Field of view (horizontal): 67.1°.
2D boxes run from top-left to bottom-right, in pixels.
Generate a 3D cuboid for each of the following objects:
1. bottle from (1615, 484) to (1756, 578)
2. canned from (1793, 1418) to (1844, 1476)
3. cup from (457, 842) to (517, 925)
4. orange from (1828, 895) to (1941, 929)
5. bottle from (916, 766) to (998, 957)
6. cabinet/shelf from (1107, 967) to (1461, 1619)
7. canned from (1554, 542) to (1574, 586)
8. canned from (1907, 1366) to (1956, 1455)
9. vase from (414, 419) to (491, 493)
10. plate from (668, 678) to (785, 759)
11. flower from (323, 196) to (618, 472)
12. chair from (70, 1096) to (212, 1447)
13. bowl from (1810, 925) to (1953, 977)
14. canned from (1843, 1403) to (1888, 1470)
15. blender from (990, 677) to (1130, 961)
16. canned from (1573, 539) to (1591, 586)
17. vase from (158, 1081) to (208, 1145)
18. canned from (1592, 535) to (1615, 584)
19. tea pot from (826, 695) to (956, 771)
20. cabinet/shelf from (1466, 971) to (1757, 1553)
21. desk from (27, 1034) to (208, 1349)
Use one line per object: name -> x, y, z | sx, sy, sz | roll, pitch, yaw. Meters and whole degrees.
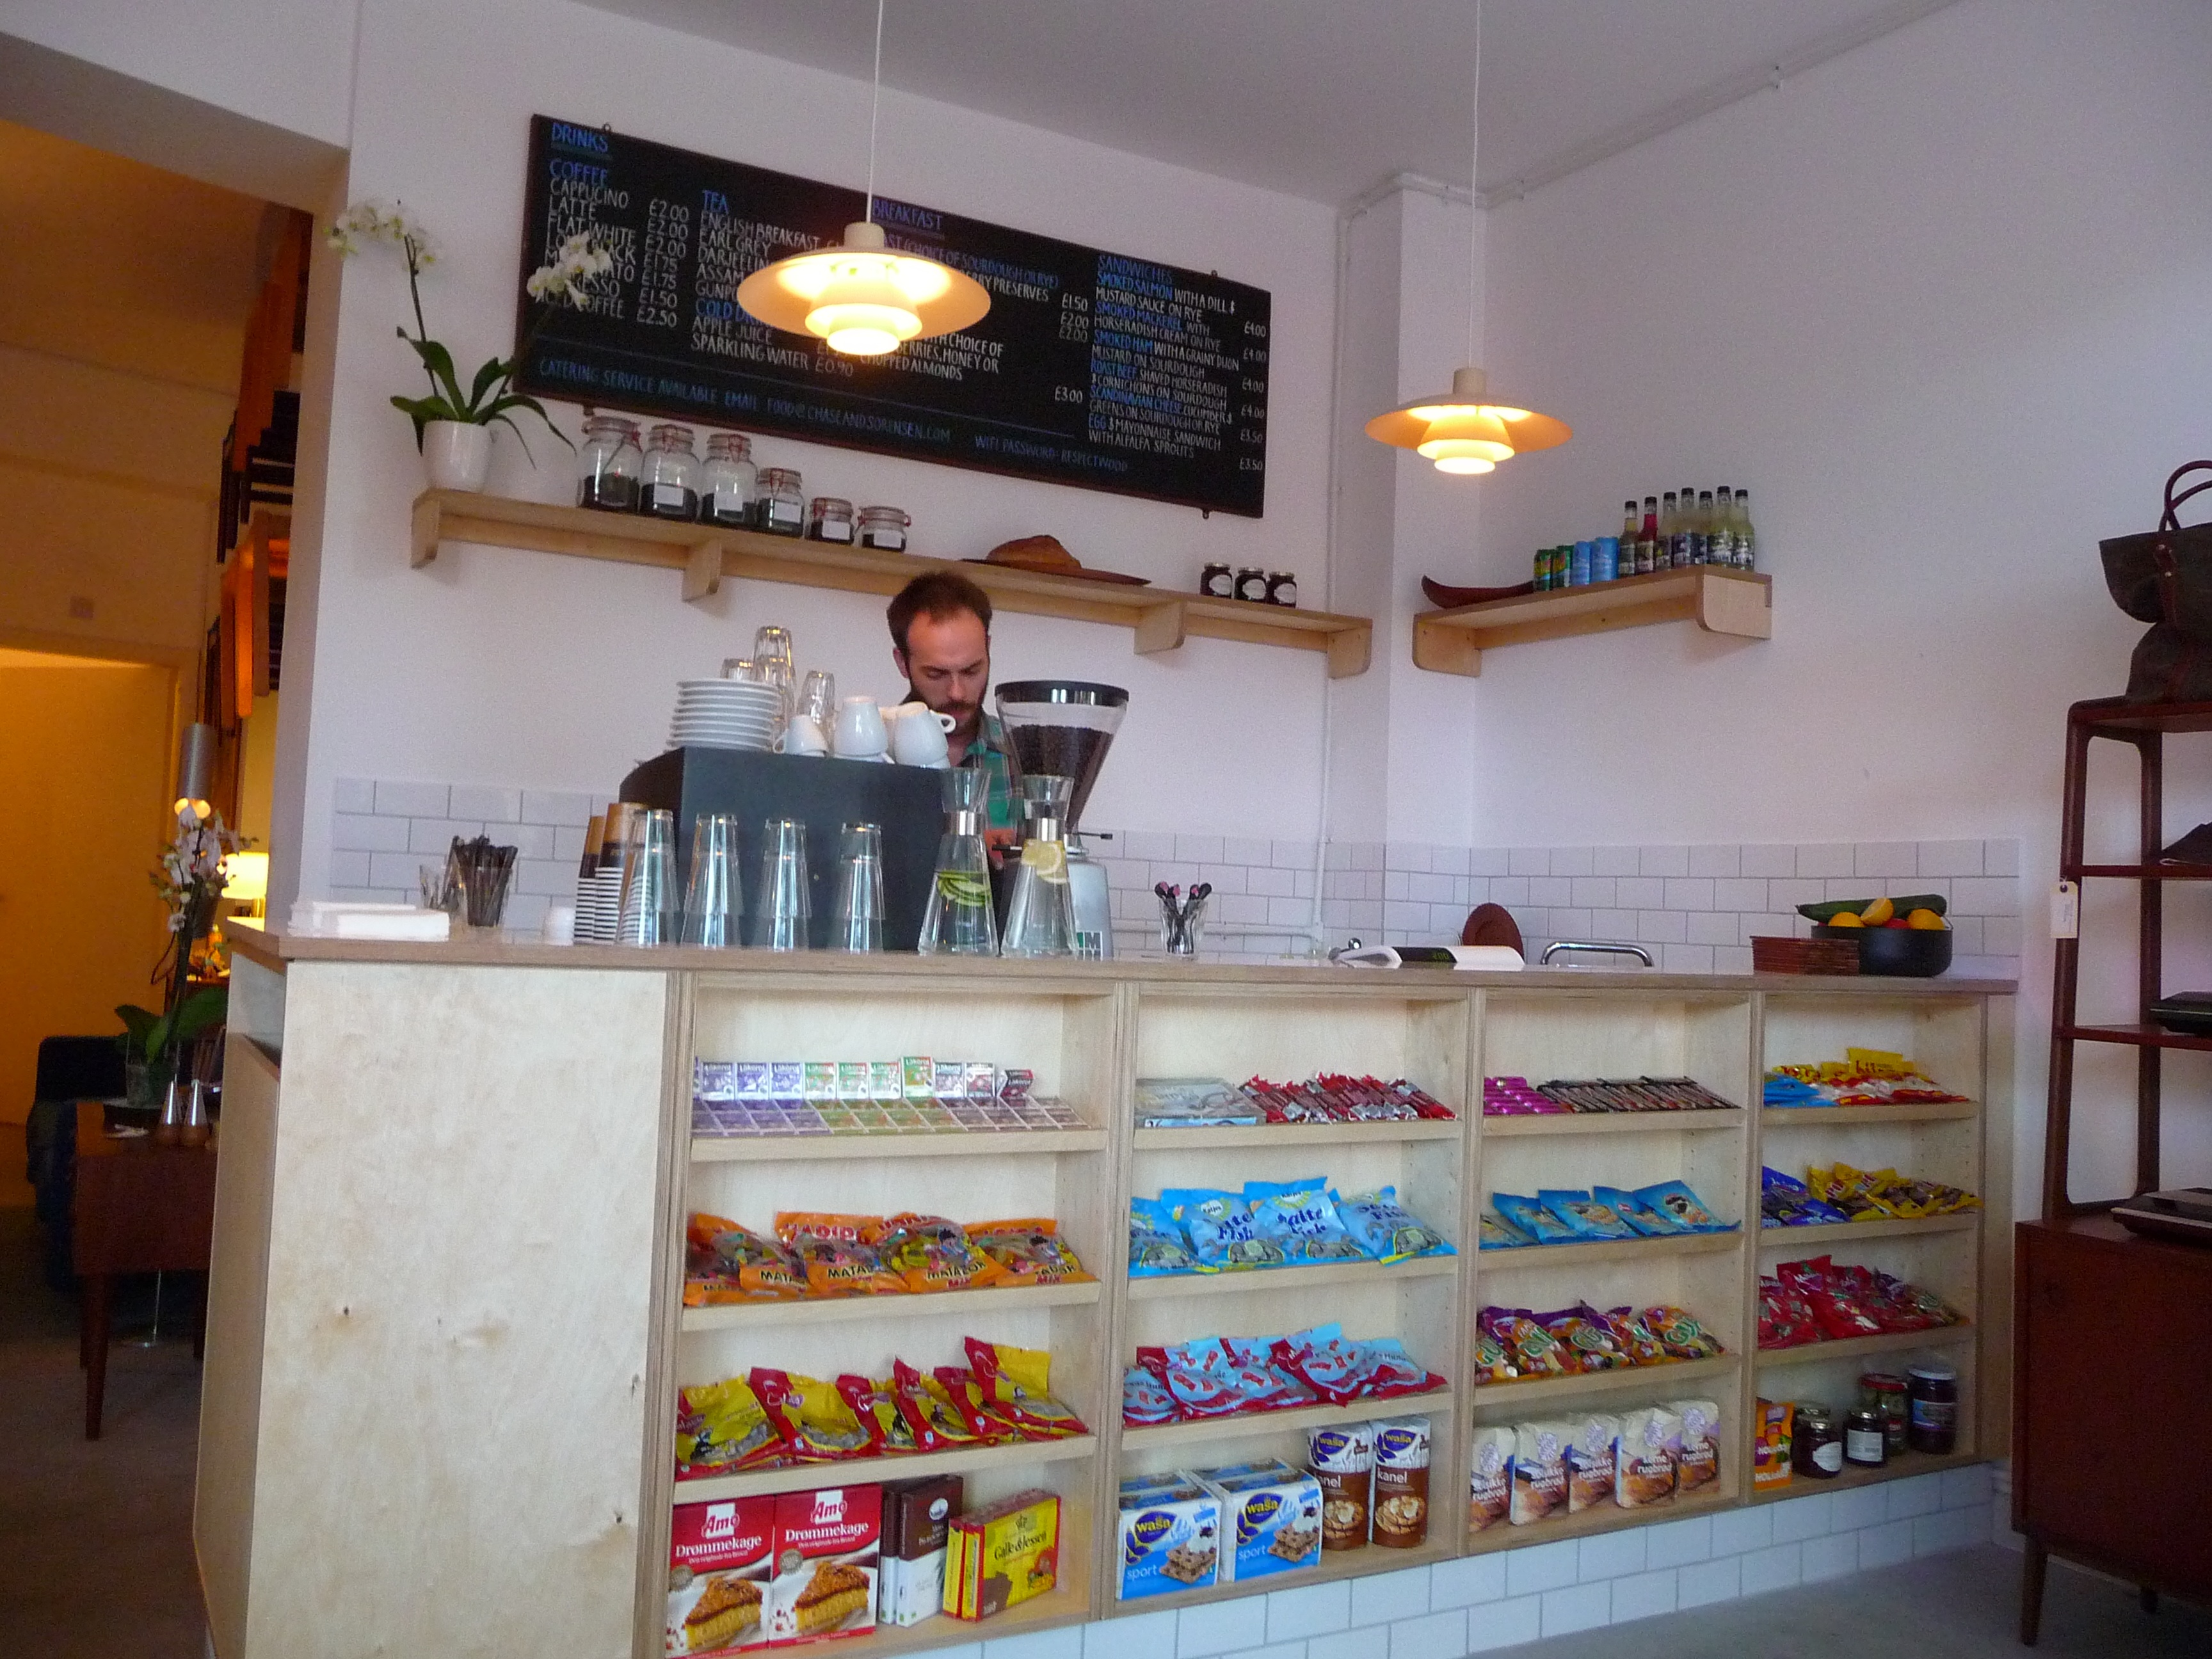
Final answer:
bottle -> 1.741, -0.887, 4.986 | 0.075, 0.211, 0.322 | 8, -9, -32
canned -> 1.667, 1.451, 3.953 | 0.102, 0.135, 0.140 | -2, -7, 35
cup -> -1.374, 0.121, 3.658 | 0.116, 0.182, 0.367 | 1, -2, -21
orange -> 1.999, 0.210, 4.305 | 0.291, 0.083, 0.191 | -1, -2, 21
bottle -> -0.282, 0.063, 3.172 | 0.139, 0.342, 0.209 | 0, -2, -4
cabinet/shelf -> 0.363, 0.913, 3.437 | 0.837, 1.143, 0.224 | 1, -2, -23
canned -> 1.447, -0.835, 5.279 | 0.049, 0.144, 0.102 | 0, -2, -8
canned -> 2.029, 1.433, 4.117 | 0.110, 0.197, 0.054 | -1, -2, 19
vase -> -1.750, -0.994, 4.491 | 0.180, 0.200, 0.181 | 8, 9, 44
plate -> -0.729, -0.226, 3.225 | 0.210, 0.155, 0.184 | 1, -2, -19
flower -> -1.751, -1.320, 4.584 | 0.746, 0.827, 0.384 | 1, -2, -17
chair -> -2.715, 1.240, 4.694 | 0.300, 0.668, 0.786 | 5, -3, -25
bowl -> 1.968, 0.308, 4.225 | 0.332, 0.122, 0.185 | 0, -2, 16
canned -> 1.835, 1.448, 4.003 | 0.139, 0.150, 0.065 | 1, -2, -26
blender -> -0.095, -0.042, 3.528 | 0.284, 0.600, 0.683 | 0, -2, -4
canned -> 1.482, -0.836, 5.208 | 0.032, 0.134, 0.069 | 1, -2, -24
vase -> -2.759, 0.847, 4.964 | 0.084, 0.179, 0.131 | -6, -8, 34
canned -> 1.531, -0.834, 5.144 | 0.072, 0.167, 0.174 | 0, -2, 16
tea pot -> -0.439, -0.196, 3.390 | 0.216, 0.143, 0.128 | 14, -22, -37
cabinet/shelf -> 1.091, 0.926, 3.758 | 0.833, 1.154, 0.229 | 1, -2, -24
desk -> -3.029, 1.139, 5.110 | 0.288, 0.547, 0.988 | 3, -3, -24
